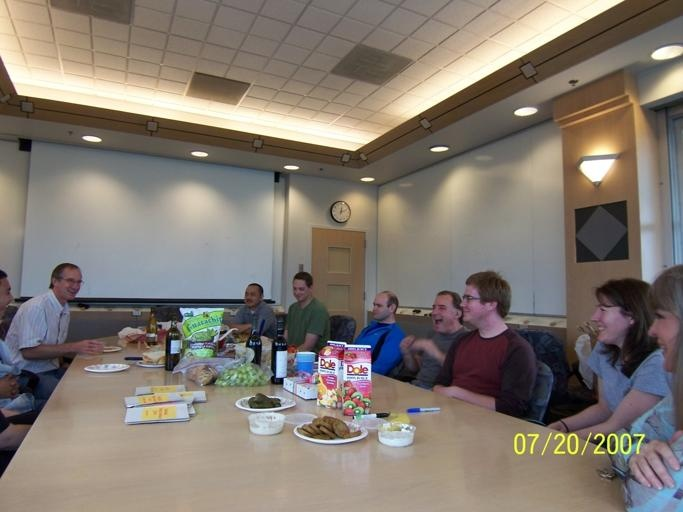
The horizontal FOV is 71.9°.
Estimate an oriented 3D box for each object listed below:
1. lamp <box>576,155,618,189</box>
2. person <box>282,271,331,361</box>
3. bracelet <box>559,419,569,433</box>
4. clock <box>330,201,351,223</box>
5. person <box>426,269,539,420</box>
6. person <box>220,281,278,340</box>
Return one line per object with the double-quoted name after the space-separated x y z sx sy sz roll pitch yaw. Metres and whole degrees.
2.223 -0.729 4.063 0.279 0.246 0.069 4 34 26 "lamp"
-0.389 0.551 4.406 0.532 0.726 0.553 2 -1 -43 "person"
1.097 0.842 2.327 0.054 0.037 0.051 3 -3 -30 "bracelet"
-0.029 -0.684 7.323 0.370 0.330 0.050 3 -9 -34 "clock"
0.934 0.557 3.003 0.498 0.752 0.719 12 -4 -6 "person"
-0.937 0.739 5.011 0.511 0.829 0.503 -4 -5 34 "person"
